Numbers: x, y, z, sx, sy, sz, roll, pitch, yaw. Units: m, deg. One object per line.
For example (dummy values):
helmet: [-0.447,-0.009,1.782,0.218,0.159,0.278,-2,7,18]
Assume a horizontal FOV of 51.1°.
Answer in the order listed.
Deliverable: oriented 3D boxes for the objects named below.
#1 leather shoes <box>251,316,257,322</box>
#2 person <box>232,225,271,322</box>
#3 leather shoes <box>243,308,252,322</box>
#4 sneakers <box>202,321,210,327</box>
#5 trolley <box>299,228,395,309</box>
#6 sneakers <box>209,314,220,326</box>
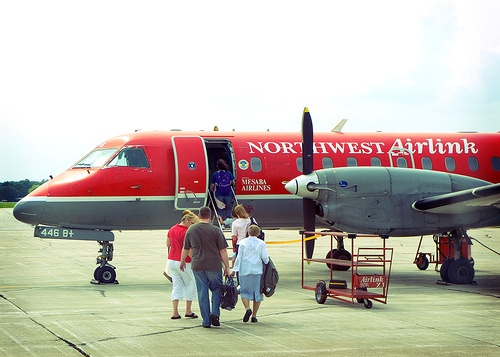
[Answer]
leather shoes: [0.083,2.937,11.028,0.125,0.096,0.287,0,-11,3]
person: [0.022,1.940,10.820,0.772,1.957,0.347,-1,-8,-2]
leather shoes: [-0.046,2.798,10.849,0.152,0.323,0.140,19,27,-4]
sneakers: [-0.879,2.923,10.559,0.180,0.106,0.143,0,-7,-7]
trolley: [2.933,2.707,15.931,1.506,1.515,3.185,1,-2,-24]
sneakers: [-0.725,2.832,10.545,0.148,0.266,0.111,-32,15,0]
